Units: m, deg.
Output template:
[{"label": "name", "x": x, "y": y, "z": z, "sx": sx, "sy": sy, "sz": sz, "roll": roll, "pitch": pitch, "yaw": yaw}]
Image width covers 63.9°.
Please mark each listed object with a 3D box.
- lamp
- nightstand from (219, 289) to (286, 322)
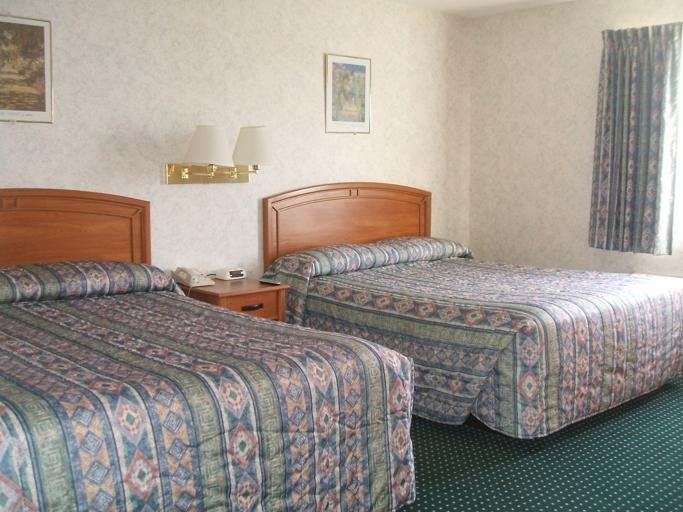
[{"label": "lamp", "x": -0.935, "y": -0.757, "z": 4.136, "sx": 0.766, "sy": 0.459, "sz": 0.528, "roll": -2, "pitch": 10, "yaw": -23}, {"label": "nightstand", "x": -0.681, "y": 0.316, "z": 4.045, "sx": 0.295, "sy": 0.277, "sz": 0.296, "roll": 9, "pitch": 14, "yaw": 42}]
